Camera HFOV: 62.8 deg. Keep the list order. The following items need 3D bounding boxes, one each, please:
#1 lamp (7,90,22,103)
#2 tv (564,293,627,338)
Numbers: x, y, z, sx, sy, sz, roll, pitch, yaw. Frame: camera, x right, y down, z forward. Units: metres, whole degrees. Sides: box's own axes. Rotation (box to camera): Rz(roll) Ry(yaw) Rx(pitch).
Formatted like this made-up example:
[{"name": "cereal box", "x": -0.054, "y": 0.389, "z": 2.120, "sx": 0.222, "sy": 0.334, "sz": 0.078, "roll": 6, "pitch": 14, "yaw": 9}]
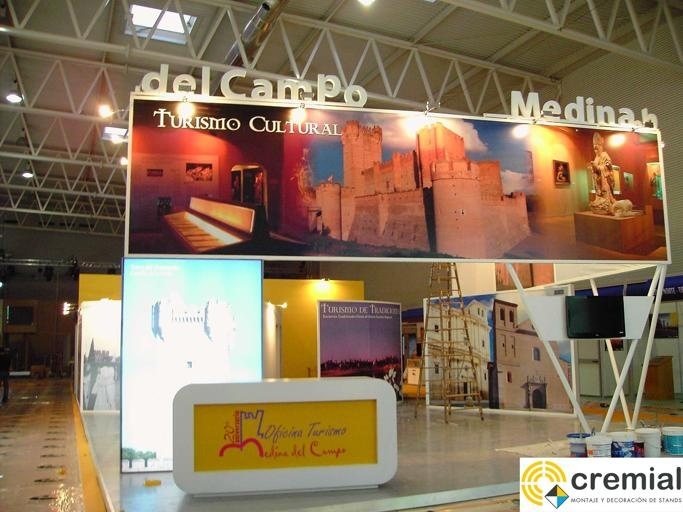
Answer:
[{"name": "lamp", "x": -7.287, "y": -3.523, "z": 12.456, "sx": 0.306, "sy": 0.215, "sz": 0.314, "roll": 10, "pitch": -6, "yaw": 1}, {"name": "tv", "x": 3.416, "y": 0.822, "z": 7.526, "sx": 0.757, "sy": 0.590, "sz": 0.090, "roll": -2, "pitch": -1, "yaw": 8}]
